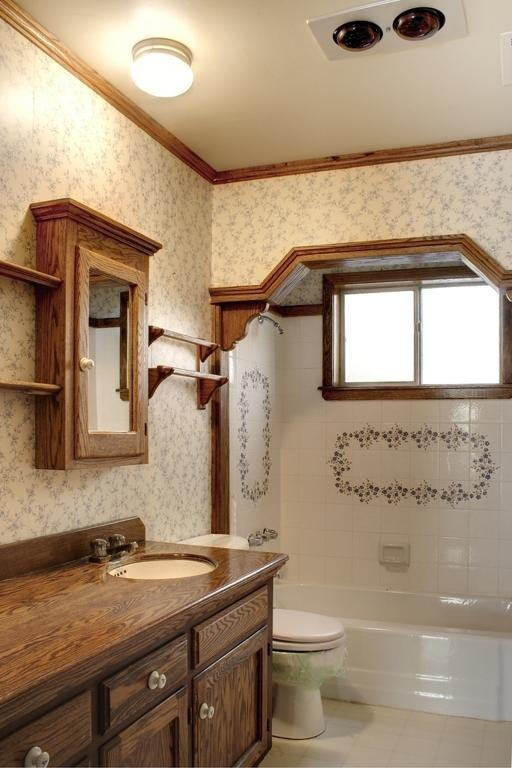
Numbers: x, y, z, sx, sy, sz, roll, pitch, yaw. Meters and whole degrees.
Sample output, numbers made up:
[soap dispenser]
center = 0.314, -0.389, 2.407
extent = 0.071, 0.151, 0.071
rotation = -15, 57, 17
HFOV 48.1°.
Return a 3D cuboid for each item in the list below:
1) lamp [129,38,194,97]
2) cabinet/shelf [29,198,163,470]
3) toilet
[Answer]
[lamp]
center = -0.310, -1.055, 1.908
extent = 0.207, 0.127, 0.179
rotation = 4, -8, -12
[cabinet/shelf]
center = -0.509, -0.136, 1.848
extent = 0.179, 0.811, 0.520
rotation = -2, -9, 25
[toilet]
center = 0.070, 1.240, 3.066
extent = 1.016, 1.163, 0.566
rotation = -3, -4, 27
